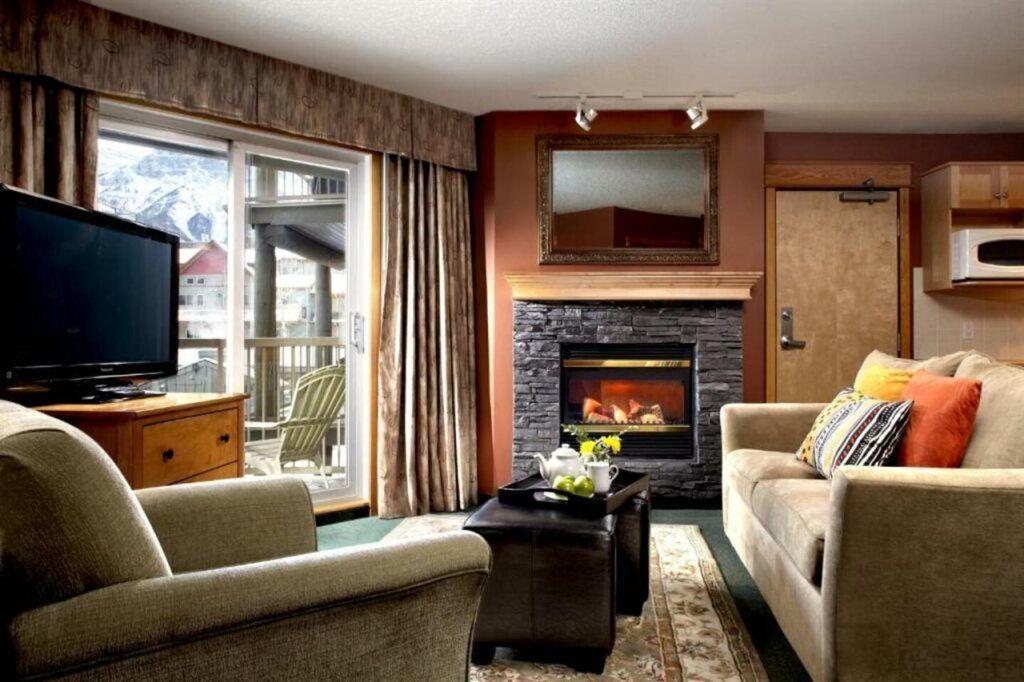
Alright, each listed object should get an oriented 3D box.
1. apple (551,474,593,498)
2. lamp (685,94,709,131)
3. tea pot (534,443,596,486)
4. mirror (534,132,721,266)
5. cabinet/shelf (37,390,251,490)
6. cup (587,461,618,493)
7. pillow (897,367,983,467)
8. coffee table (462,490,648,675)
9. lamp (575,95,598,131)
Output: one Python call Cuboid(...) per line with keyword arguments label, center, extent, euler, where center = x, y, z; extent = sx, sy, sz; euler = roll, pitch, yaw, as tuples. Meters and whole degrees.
Cuboid(label="apple", center=(0.275, 0.648, 3.460), extent=(0.135, 0.063, 0.094), euler=(5, -4, -7))
Cuboid(label="lamp", center=(1.205, -1.526, 5.142), extent=(0.067, 0.184, 0.184), euler=(4, 14, 32))
Cuboid(label="tea pot", center=(0.237, 0.572, 3.719), extent=(0.278, 0.195, 0.184), euler=(0, 1, 11))
Cuboid(label="mirror", center=(0.791, -0.997, 5.418), extent=(1.316, 0.891, 0.051), euler=(-1, 9, -2))
Cuboid(label="cabinet/shelf", center=(-1.595, 0.400, 3.475), extent=(0.413, 0.603, 0.676), euler=(1, 0, 11))
Cuboid(label="cup", center=(0.436, 0.638, 3.689), extent=(0.177, 0.160, 0.110), euler=(1, -5, -21))
Cuboid(label="pillow", center=(1.862, 0.345, 3.356), extent=(0.236, 0.384, 0.443), euler=(1, -1, -10))
Cuboid(label="coffee table", center=(0.190, 0.923, 3.417), extent=(0.638, 0.560, 0.885), euler=(0, -4, 16))
Cuboid(label="lamp", center=(0.499, -1.531, 5.203), extent=(0.130, 0.203, 0.392), euler=(1, 1, 7))
